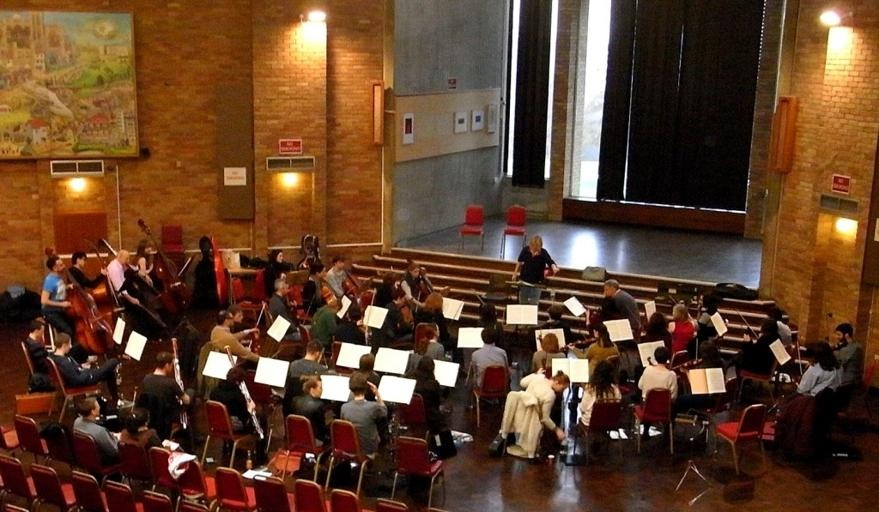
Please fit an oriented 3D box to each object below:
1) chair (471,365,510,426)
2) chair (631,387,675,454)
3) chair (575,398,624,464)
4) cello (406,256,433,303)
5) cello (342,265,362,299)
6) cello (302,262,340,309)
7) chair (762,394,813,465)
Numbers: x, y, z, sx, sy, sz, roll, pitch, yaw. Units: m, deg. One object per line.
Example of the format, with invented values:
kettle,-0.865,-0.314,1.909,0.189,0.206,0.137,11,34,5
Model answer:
chair,0.937,2.671,13.593,0.867,1.135,0.829,0,9,-9
chair,3.990,3.016,12.781,0.626,1.385,0.694,1,3,12
chair,3.079,3.151,12.737,0.836,1.162,0.817,1,9,-8
cello,-0.546,0.597,16.004,0.290,0.929,0.639,-14,8,41
cello,-2.270,0.643,16.852,0.528,0.846,0.265,-7,-20,-48
cello,-2.922,0.775,16.354,0.962,1.122,0.797,7,8,6
chair,6.682,3.209,12.817,0.810,1.126,1.164,0,12,-10
